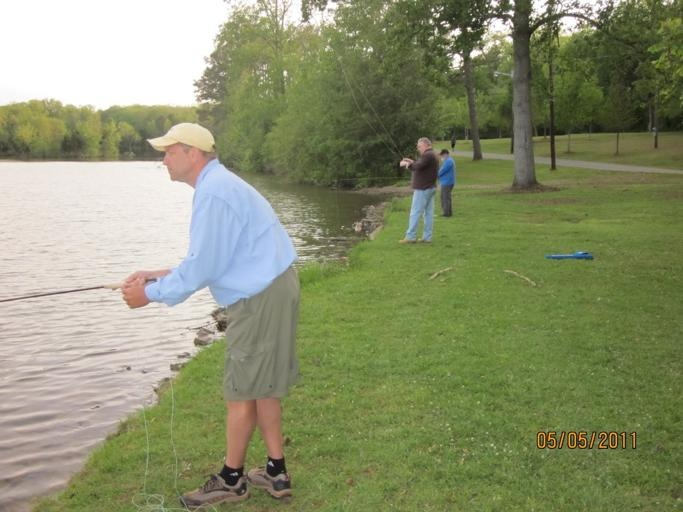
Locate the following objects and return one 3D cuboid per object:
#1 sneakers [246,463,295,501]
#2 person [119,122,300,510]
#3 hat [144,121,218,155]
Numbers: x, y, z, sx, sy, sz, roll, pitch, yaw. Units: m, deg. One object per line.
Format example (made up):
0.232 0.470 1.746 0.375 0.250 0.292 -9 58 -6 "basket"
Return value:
-0.733 2.268 6.771 0.504 0.223 0.209 11 3 34 "sneakers"
-1.158 0.565 6.689 1.459 3.775 0.719 -1 8 -1 "person"
-1.608 -1.188 6.750 0.551 0.238 0.346 2 6 -8 "hat"
